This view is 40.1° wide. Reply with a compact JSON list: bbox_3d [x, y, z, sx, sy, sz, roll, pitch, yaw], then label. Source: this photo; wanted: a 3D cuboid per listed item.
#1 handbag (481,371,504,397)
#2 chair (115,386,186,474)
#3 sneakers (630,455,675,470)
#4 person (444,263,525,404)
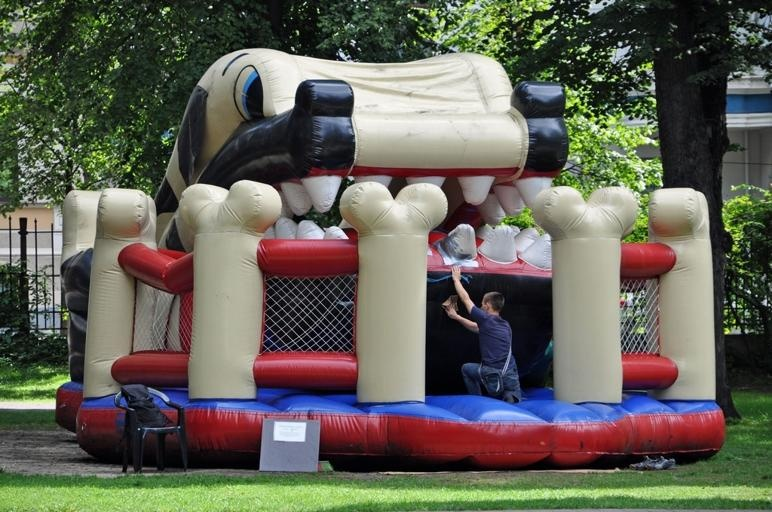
[{"bbox_3d":[1.294,1.533,12.816,0.191,0.308,0.301,-2,-7,-42],"label":"handbag"},{"bbox_3d":[-2.670,1.935,12.021,0.790,0.930,0.746,1,-2,-19],"label":"chair"},{"bbox_3d":[3.137,2.443,12.441,0.317,0.106,0.213,0,-3,8],"label":"sneakers"},{"bbox_3d":[1.186,0.953,12.929,0.823,1.662,0.538,-2,-2,16],"label":"person"}]
